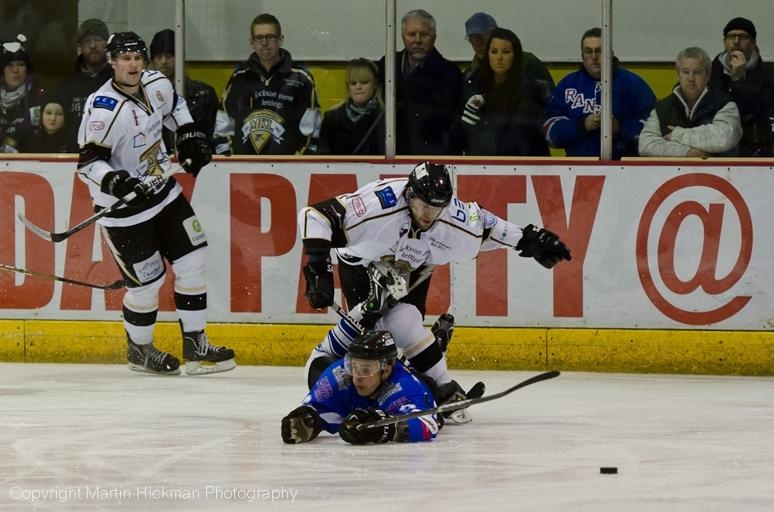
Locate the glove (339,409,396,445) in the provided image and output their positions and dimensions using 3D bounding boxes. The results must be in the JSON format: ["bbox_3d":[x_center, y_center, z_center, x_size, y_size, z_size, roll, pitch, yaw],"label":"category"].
[{"bbox_3d":[-0.113,1.051,7.442,0.274,0.118,0.220,1,1,-43],"label":"glove"}]

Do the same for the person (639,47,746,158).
[{"bbox_3d":[2.442,-1.251,9.736,0.825,1.396,0.805,0,19,19],"label":"person"}]

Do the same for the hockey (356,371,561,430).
[{"bbox_3d":[0.447,0.978,7.915,1.482,0.119,0.168,-9,-35,-28],"label":"hockey"}]

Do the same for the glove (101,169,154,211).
[{"bbox_3d":[-1.900,-0.512,8.851,0.347,0.202,0.138,37,17,-5],"label":"glove"}]

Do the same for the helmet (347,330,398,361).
[{"bbox_3d":[-0.097,0.572,7.544,0.172,0.125,0.243,1,-5,44],"label":"helmet"}]

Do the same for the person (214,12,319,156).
[{"bbox_3d":[-0.992,-1.008,9.687,0.880,1.814,0.390,1,-12,-3],"label":"person"}]

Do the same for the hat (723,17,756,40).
[{"bbox_3d":[2.744,-1.800,9.451,0.158,0.107,0.191,12,9,4],"label":"hat"}]

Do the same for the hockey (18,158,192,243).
[{"bbox_3d":[-2.261,-0.330,9.304,1.054,0.247,0.112,-28,-18,-45],"label":"hockey"}]

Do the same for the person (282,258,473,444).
[{"bbox_3d":[-0.065,0.673,7.753,1.149,0.973,0.807,0,6,3],"label":"person"}]

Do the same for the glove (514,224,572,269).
[{"bbox_3d":[1.053,-0.064,8.161,0.357,0.256,0.141,30,-26,-5],"label":"glove"}]

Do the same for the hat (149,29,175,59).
[{"bbox_3d":[-1.817,-1.743,9.826,0.169,0.190,0.218,13,2,-12],"label":"hat"}]

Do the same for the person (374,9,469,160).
[{"bbox_3d":[0.218,-1.055,9.715,0.729,1.787,0.575,3,10,19],"label":"person"}]

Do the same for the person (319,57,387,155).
[{"bbox_3d":[-0.266,-1.238,9.627,0.673,0.834,0.476,2,9,9],"label":"person"}]

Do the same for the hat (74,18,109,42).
[{"bbox_3d":[-2.367,-1.843,9.705,0.197,0.157,0.174,-13,0,19],"label":"hat"}]

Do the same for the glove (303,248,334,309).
[{"bbox_3d":[-0.435,0.181,7.921,0.141,0.325,0.251,2,10,22],"label":"glove"}]

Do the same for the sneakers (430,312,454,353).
[{"bbox_3d":[0.398,0.545,8.534,0.114,0.317,0.139,11,-37,-2],"label":"sneakers"}]

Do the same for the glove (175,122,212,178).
[{"bbox_3d":[-1.482,-0.825,9.261,0.299,0.393,0.167,5,18,10],"label":"glove"}]

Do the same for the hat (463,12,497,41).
[{"bbox_3d":[0.731,-1.840,9.480,0.174,0.139,0.245,-17,14,34],"label":"hat"}]

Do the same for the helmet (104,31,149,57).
[{"bbox_3d":[-1.930,-1.583,9.022,0.217,0.245,0.252,-5,-3,-24],"label":"helmet"}]
